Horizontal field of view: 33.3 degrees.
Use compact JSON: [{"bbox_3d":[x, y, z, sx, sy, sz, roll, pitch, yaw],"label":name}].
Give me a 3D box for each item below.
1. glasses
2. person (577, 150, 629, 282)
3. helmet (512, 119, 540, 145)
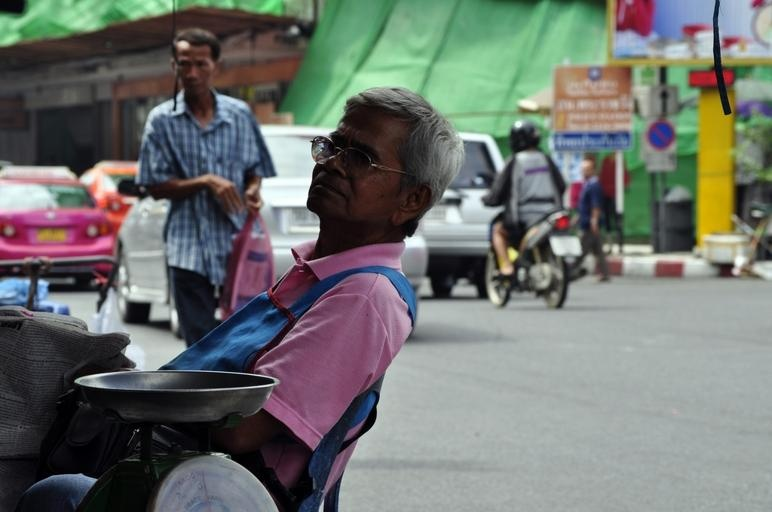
[{"bbox_3d":[-0.152,-0.373,4.761,0.231,0.073,0.195,14,3,-44],"label":"glasses"},{"bbox_3d":[1.995,-0.270,12.436,0.292,1.104,1.344,-1,7,9],"label":"person"},{"bbox_3d":[1.414,-1.266,13.019,0.266,0.262,0.217,20,17,7],"label":"helmet"}]
